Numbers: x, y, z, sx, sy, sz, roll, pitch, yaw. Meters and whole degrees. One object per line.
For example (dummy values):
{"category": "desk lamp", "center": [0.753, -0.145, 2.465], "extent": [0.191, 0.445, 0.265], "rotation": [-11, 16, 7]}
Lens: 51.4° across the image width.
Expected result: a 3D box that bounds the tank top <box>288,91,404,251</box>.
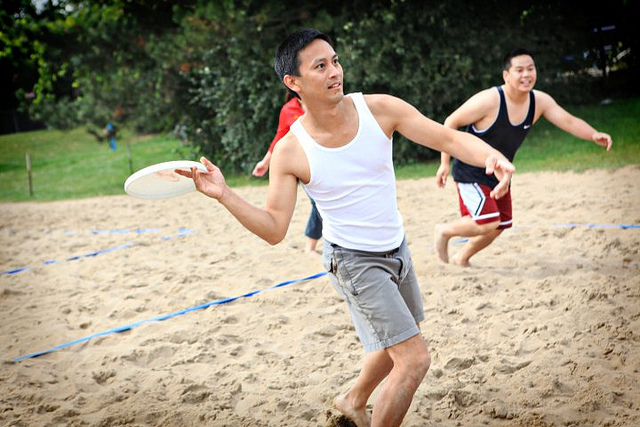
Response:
{"category": "tank top", "center": [0.312, -0.317, 6.848], "extent": [1.036, 1.579, 0.867], "rotation": [-15, -4, -3]}
